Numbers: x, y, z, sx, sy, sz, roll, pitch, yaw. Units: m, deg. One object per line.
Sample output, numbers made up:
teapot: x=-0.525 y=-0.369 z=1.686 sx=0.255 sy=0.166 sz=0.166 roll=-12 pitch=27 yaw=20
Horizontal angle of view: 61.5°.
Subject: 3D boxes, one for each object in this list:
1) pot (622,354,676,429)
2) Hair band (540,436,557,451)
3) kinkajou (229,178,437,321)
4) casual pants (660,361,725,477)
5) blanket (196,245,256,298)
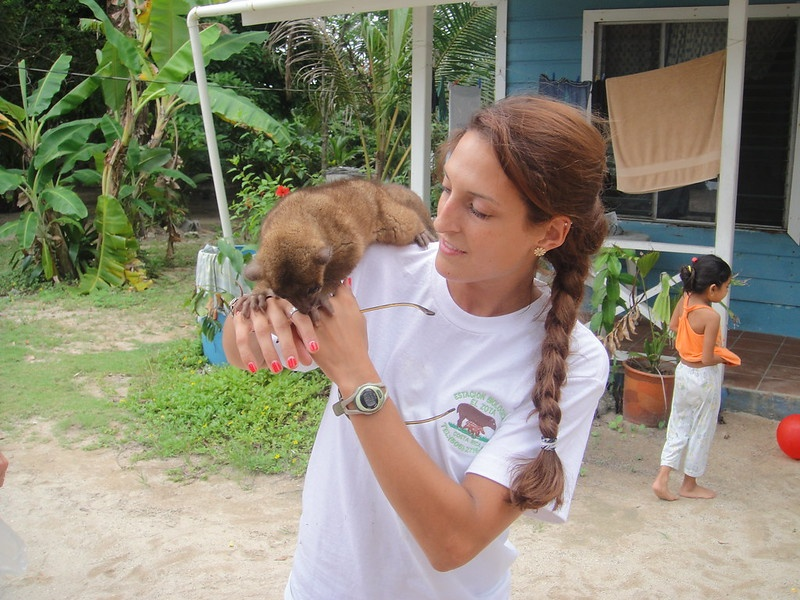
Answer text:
pot: x=2.628 y=0.953 z=7.141 sx=0.569 sy=0.669 sz=0.640 roll=5 pitch=16 yaw=15
Hair band: x=0.581 y=0.566 z=2.648 sx=0.050 sy=0.042 sz=0.053 roll=3 pitch=13 yaw=0
kinkajou: x=-0.338 y=-0.334 z=3.634 sx=0.543 sy=0.433 sz=1.192 roll=-20 pitch=33 yaw=38
casual pants: x=2.568 y=1.142 z=5.979 sx=0.378 sy=1.124 sz=0.702 roll=9 pitch=17 yaw=26
blanket: x=-1.821 y=-0.304 z=6.993 sx=0.491 sy=0.520 sz=0.477 roll=1 pitch=12 yaw=-1
